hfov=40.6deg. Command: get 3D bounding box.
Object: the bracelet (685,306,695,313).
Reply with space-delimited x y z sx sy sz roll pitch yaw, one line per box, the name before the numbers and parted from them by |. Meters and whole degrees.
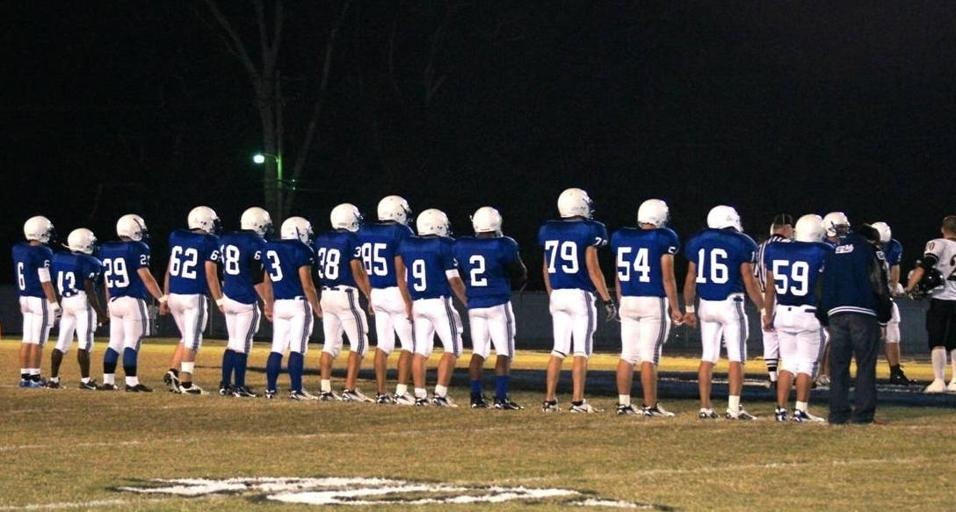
bracelet | 5.366 1.369 33.094 0.272 0.164 0.220 -3 -2 35
